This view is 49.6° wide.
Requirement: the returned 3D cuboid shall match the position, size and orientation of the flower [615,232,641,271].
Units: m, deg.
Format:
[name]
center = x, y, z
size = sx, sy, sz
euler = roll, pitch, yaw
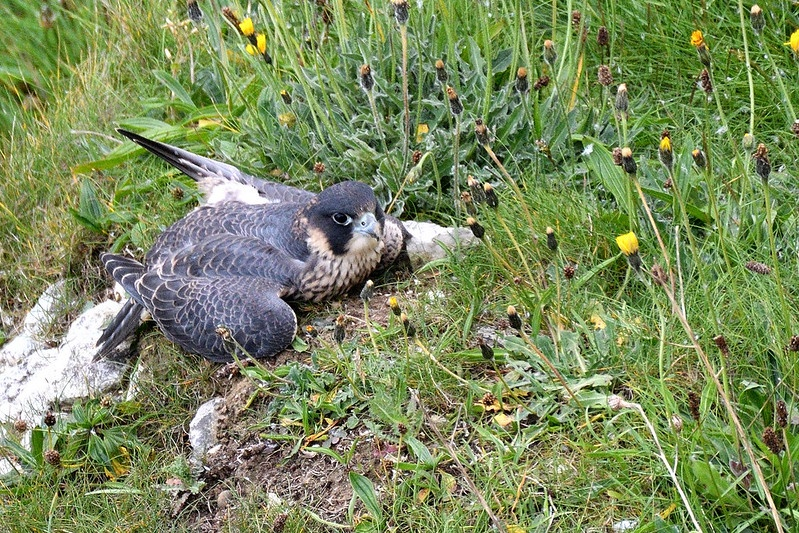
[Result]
[flower]
center = 1.133, -0.083, 4.254
size = 0.081, 0.220, 0.074
euler = -33, 29, 14
